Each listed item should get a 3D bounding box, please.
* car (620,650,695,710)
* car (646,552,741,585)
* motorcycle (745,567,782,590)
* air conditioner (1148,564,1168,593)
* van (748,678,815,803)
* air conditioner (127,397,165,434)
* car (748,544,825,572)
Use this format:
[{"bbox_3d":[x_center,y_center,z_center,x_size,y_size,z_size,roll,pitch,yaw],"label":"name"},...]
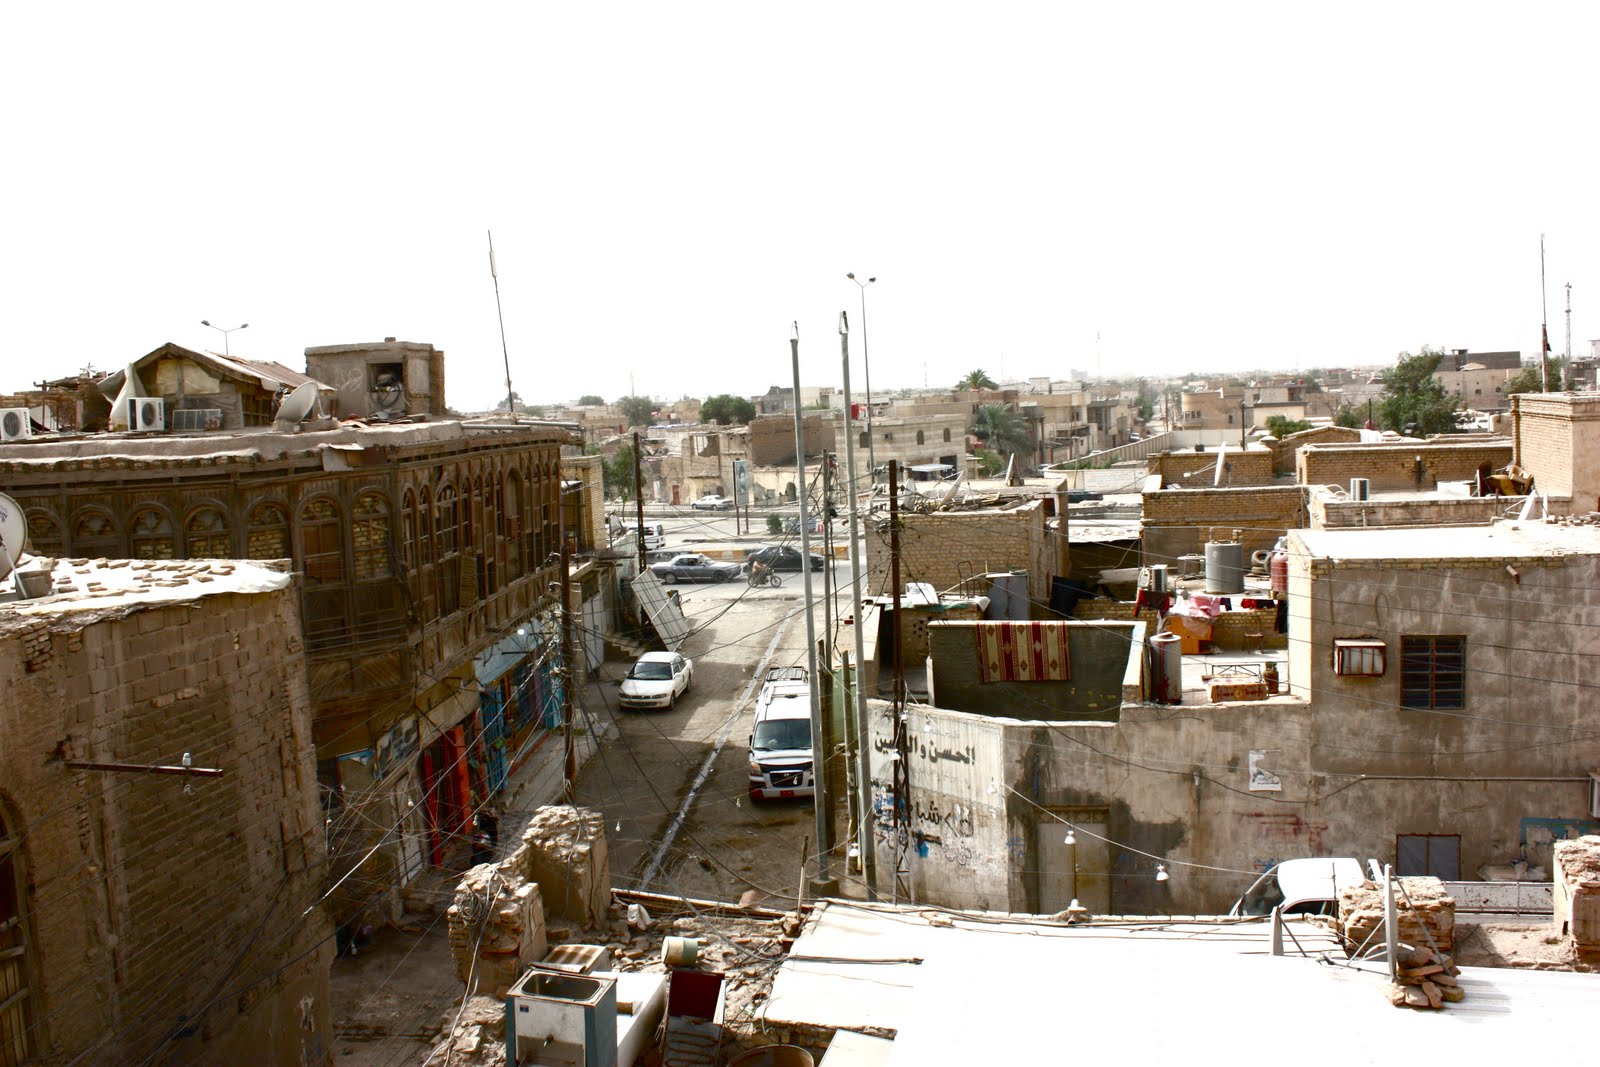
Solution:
[{"bbox_3d":[-3.733,3.808,37.407,1.270,1.109,1.983,-1,4,13],"label":"car"},{"bbox_3d":[-4.280,1.492,59.829,2.699,0.816,1.531,-1,9,4],"label":"car"},{"bbox_3d":[-1.436,1.721,58.252,0.770,0.740,1.201,-1,-4,5],"label":"motorcycle"},{"bbox_3d":[7.225,0.901,29.631,0.347,0.547,1.448,-1,4,13],"label":"air conditioner"},{"bbox_3d":[-0.442,4.273,31.199,1.317,2.207,2.948,-2,4,-2],"label":"van"},{"bbox_3d":[-11.791,-2.123,26.496,0.677,0.644,0.255,2,8,-8],"label":"air conditioner"},{"bbox_3d":[-0.531,1.022,62.252,3.063,1.022,1.321,-2,12,-4],"label":"car"}]
